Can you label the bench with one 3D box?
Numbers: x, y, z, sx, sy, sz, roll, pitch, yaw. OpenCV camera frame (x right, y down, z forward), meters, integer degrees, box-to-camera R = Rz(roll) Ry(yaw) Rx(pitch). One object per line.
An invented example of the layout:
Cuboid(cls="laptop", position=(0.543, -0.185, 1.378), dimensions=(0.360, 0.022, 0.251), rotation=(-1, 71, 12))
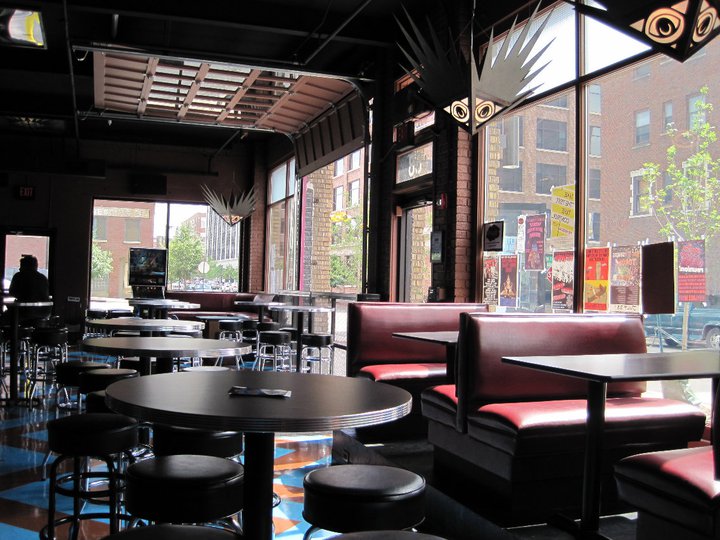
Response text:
Cuboid(cls="bench", position=(1.413, 0.974, 4.485), dimensions=(1.702, 1.324, 1.162), rotation=(0, -2, -9))
